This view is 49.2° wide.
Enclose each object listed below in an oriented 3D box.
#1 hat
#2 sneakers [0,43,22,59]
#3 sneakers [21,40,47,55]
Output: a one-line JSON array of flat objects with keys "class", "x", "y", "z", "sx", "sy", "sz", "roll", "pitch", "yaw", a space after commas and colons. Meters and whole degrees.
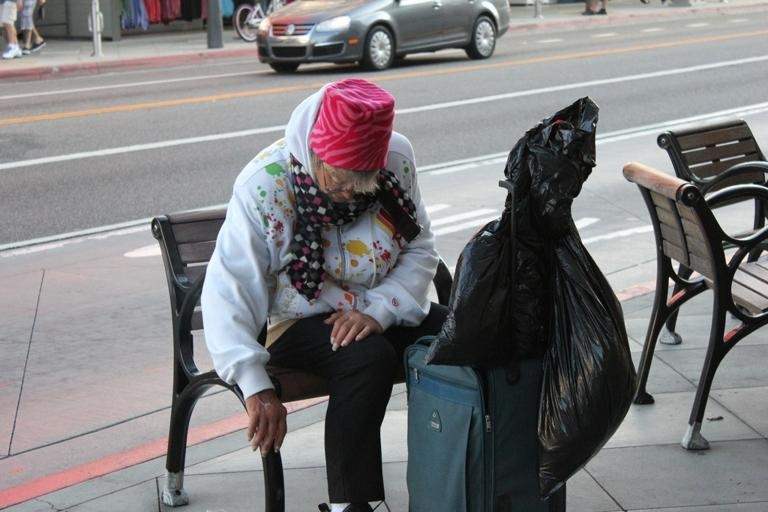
[{"class": "hat", "x": -0.093, "y": -0.675, "z": 4.183, "sx": 0.469, "sy": 0.399, "sz": 0.358, "roll": 24, "pitch": 28, "yaw": 20}, {"class": "sneakers", "x": -8.468, "y": -4.627, "z": 18.968, "sx": 0.692, "sy": 0.309, "sz": 0.233, "roll": -12, "pitch": 25, "yaw": -36}, {"class": "sneakers", "x": -8.523, "y": -5.016, "z": 20.253, "sx": 0.669, "sy": 0.274, "sz": 0.230, "roll": -23, "pitch": 47, "yaw": -13}]
